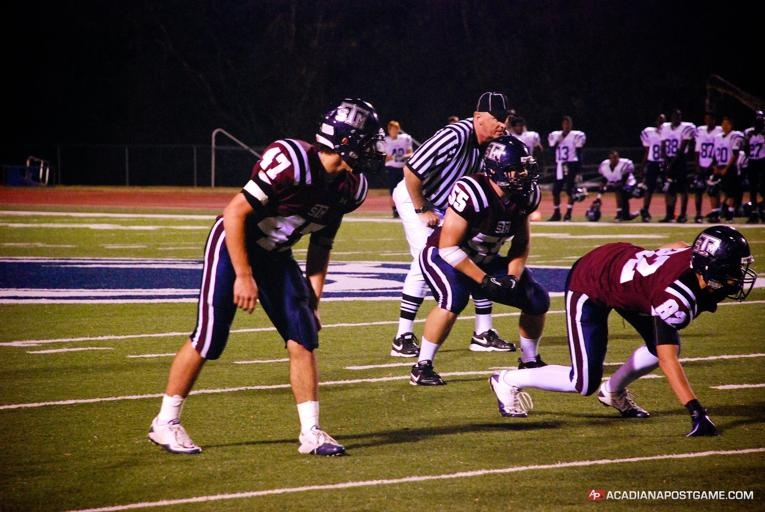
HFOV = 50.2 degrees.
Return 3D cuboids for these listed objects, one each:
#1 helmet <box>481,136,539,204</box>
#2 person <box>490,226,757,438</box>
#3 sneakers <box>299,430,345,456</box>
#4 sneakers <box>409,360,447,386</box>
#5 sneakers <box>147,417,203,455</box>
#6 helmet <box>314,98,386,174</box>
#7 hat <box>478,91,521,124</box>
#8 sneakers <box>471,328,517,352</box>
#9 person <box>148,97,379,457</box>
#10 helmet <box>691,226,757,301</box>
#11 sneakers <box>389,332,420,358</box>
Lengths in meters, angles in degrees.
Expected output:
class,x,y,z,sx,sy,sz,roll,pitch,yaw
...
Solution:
class,x,y,z,sx,sy,sz,roll,pitch,yaw
helmet,0.944,-0.697,6.249,0.490,0.421,0.382,13,18,35
person,1.829,0.292,6.004,1.865,1.481,1.191,12,18,35
sneakers,-0.404,1.173,5.165,0.292,0.117,0.142,0,-2,17
sneakers,0.355,0.927,6.482,0.281,0.125,0.151,-2,-5,40
sneakers,-1.323,1.142,5.192,0.400,0.160,0.152,18,7,32
helmet,-0.221,-0.779,5.256,0.515,0.438,0.379,13,7,-3
hat,1.031,-1.376,7.536,0.326,0.278,0.673,2,10,8
sneakers,0.989,0.781,7.521,0.466,0.195,0.175,1,-1,5
person,-0.728,0.116,5.217,1.424,2.213,0.673,0,10,-4
helmet,2.154,0.020,5.240,0.524,0.493,0.402,5,17,17
sneakers,0.196,0.806,7.284,0.138,0.145,0.338,5,-7,-31
